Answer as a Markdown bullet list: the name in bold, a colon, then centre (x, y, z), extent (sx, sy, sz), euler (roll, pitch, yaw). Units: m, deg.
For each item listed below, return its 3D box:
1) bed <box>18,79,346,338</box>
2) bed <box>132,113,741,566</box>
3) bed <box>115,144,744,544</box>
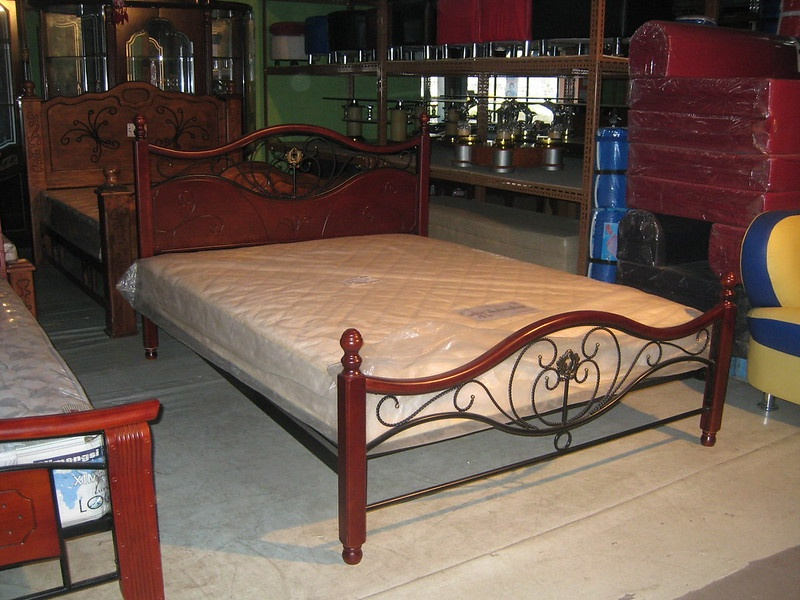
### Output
- **bed**: centre (-1.768, -0.890, 5.210), extent (2.095, 1.659, 2.552), euler (-14, 25, -36)
- **bed**: centre (-0.158, 0.097, 3.450), extent (2.570, 1.507, 2.805), euler (-9, 19, -28)
- **bed**: centre (-0.167, 0.136, 3.265), extent (2.295, 1.235, 2.504), euler (-9, 20, -28)
